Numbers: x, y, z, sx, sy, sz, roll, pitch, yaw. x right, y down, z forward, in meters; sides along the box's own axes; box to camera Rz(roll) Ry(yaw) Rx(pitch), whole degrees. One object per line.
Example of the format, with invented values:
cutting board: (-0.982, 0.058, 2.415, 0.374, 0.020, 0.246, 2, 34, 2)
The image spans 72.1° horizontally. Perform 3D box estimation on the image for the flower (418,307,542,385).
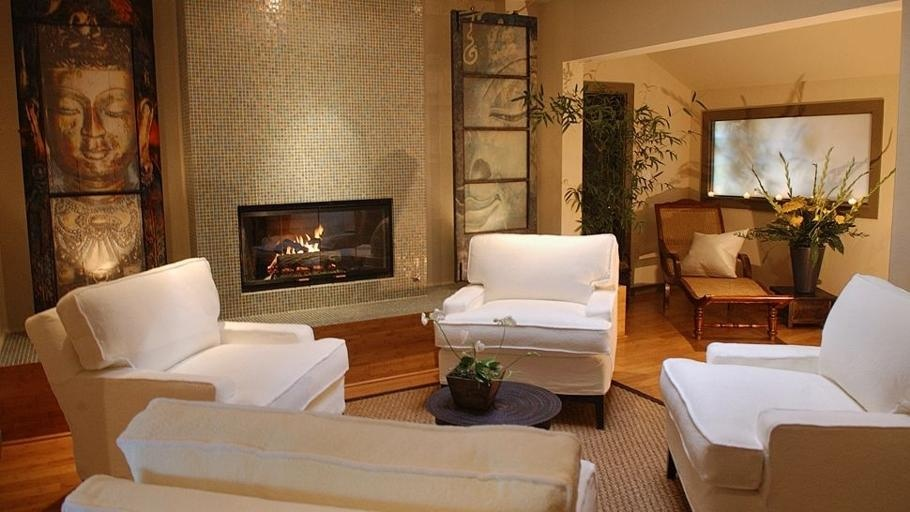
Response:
flower: (0.143, 0.731, 4.423, 0.722, 0.280, 0.686, 4, 2, 6)

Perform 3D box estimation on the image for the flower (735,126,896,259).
flower: (3.879, -0.442, 6.697, 0.953, 0.905, 1.093, -5, 25, -20)

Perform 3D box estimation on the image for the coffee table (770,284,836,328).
coffee table: (3.739, 0.565, 6.730, 0.573, 0.315, 0.637, 0, 7, 6)

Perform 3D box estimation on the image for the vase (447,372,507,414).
vase: (0.128, 0.946, 4.337, 0.370, 0.203, 0.408, 3, -3, 36)

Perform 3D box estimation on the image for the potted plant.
potted plant: (1.714, -0.705, 6.942, 3.213, 2.926, 1.047, -5, 9, -27)

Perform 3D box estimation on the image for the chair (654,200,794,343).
chair: (2.888, 0.143, 7.033, 0.889, 1.185, 2.109, -1, 11, 6)

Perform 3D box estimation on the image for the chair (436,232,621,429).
chair: (0.581, 0.590, 5.591, 1.727, 1.466, 1.566, 1, 8, 18)

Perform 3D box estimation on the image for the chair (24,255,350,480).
chair: (-1.884, 0.809, 4.714, 1.952, 1.133, 1.751, 3, 11, -3)
